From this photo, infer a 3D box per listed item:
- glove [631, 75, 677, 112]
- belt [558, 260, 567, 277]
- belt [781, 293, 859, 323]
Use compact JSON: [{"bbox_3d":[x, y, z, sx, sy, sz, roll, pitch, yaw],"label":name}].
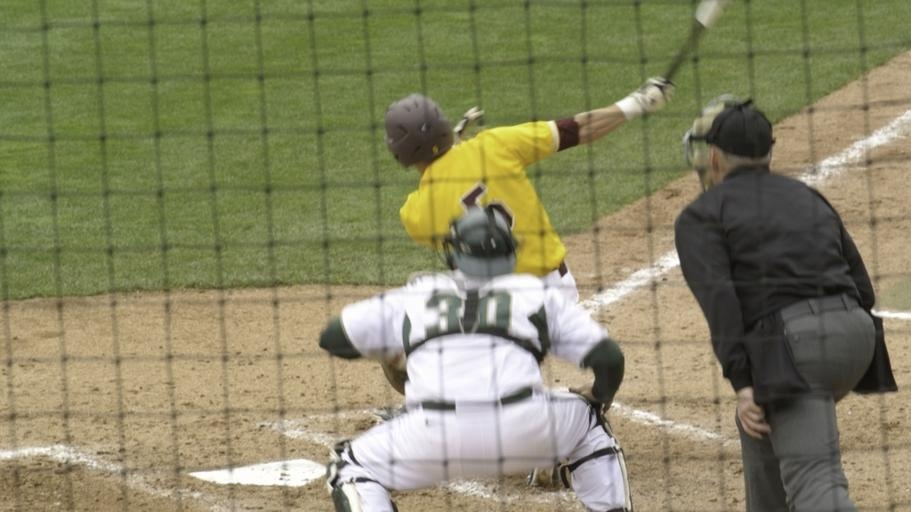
[{"bbox_3d":[2.239,-1.778,20.103,0.296,0.208,0.520,36,62,29],"label":"glove"},{"bbox_3d":[1.199,0.154,19.983,0.035,0.138,0.126,8,83,-21],"label":"belt"},{"bbox_3d":[3.846,0.536,18.916,1.014,0.252,0.244,-3,38,-3],"label":"belt"}]
